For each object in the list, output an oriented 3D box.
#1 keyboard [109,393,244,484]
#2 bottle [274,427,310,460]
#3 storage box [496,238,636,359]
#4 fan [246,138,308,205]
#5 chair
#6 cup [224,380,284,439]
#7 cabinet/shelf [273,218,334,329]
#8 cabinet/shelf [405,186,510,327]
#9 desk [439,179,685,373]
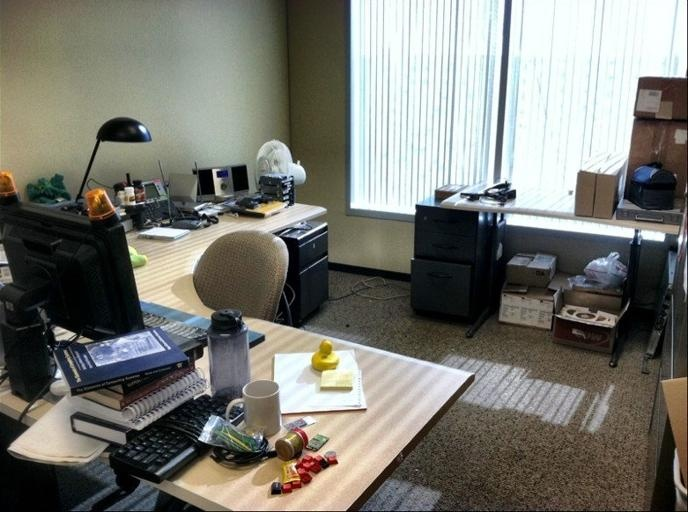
[{"bbox_3d":[-0.489,0.521,1.484,0.182,0.068,0.351,11,17,17],"label":"keyboard"},{"bbox_3d":[-0.145,0.526,1.411,0.071,0.080,0.084,4,9,28],"label":"bottle"},{"bbox_3d":[1.600,0.323,3.690,0.811,0.709,0.813,7,21,30],"label":"storage box"},{"bbox_3d":[-0.528,-0.706,4.125,0.441,0.447,0.333,2,-6,-8],"label":"fan"},{"bbox_3d":[-0.562,0.208,2.441,0.385,0.522,0.456,4,-22,-31],"label":"chair"},{"bbox_3d":[-0.271,0.460,1.495,0.158,0.139,0.098,-6,15,-16],"label":"cup"},{"bbox_3d":[-0.362,0.122,3.818,0.349,0.655,0.482,3,17,19],"label":"cabinet/shelf"},{"bbox_3d":[0.839,-0.013,4.052,0.477,0.846,0.769,8,16,23],"label":"cabinet/shelf"},{"bbox_3d":[1.514,-0.208,3.615,1.827,1.231,1.042,13,27,32],"label":"desk"}]
